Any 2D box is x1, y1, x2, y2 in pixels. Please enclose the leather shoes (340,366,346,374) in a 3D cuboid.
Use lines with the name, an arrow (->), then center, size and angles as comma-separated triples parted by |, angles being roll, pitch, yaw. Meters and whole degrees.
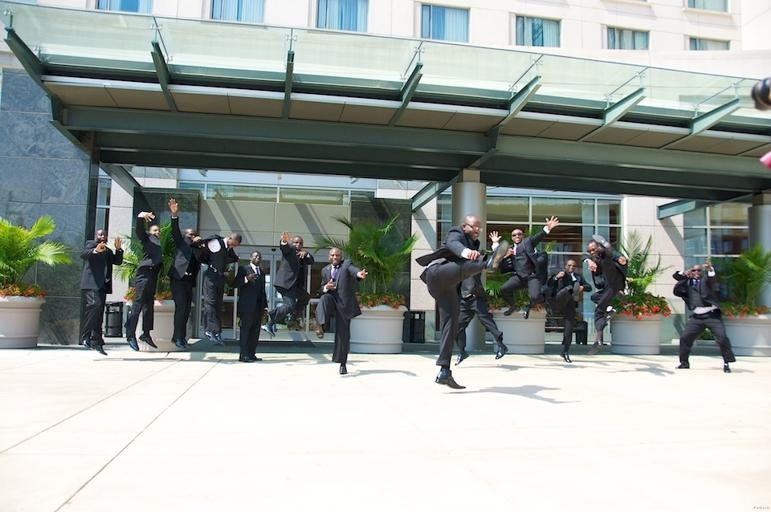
leather shoes -> -0.767, 2.056, 11.963 | 0.121, 0.134, 0.079 | 7, -17, -36

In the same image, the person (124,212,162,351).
person -> -4.940, 0.617, 13.630 | 0.694, 3.063, 1.138 | -2, 9, -21

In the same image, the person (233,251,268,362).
person -> -2.708, 1.084, 13.451 | 0.606, 2.239, 0.727 | 0, 9, -11

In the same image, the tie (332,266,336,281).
tie -> -0.973, 0.339, 12.519 | 0.053, 0.196, 0.142 | 8, -14, -22

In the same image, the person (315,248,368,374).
person -> -0.859, 1.094, 12.364 | 0.844, 2.329, 1.190 | 0, 9, -10

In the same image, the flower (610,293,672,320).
flower -> 6.208, 1.223, 16.239 | 1.060, 0.563, 1.043 | 1, -2, -19

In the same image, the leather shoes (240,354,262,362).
leather shoes -> -2.722, 2.075, 13.517 | 0.442, 0.182, 0.145 | 1, -6, -21

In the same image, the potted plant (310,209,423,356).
potted plant -> -0.275, 0.726, 16.753 | 3.029, 3.788, 2.649 | 7, -9, -14

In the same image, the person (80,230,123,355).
person -> -5.777, 0.775, 13.497 | 0.687, 2.547, 0.782 | 6, 10, 28

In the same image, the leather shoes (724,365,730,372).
leather shoes -> 6.743, 2.250, 13.227 | 0.146, 0.138, 0.088 | -5, -8, 25

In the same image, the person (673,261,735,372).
person -> 6.490, 1.270, 13.664 | 1.202, 2.323, 1.150 | 5, 9, 22

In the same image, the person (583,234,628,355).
person -> 4.616, 0.767, 14.052 | 0.811, 2.324, 1.158 | 4, 9, 19

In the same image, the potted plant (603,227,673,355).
potted plant -> 6.185, 0.917, 16.797 | 1.857, 2.910, 1.864 | -1, -1, 11
